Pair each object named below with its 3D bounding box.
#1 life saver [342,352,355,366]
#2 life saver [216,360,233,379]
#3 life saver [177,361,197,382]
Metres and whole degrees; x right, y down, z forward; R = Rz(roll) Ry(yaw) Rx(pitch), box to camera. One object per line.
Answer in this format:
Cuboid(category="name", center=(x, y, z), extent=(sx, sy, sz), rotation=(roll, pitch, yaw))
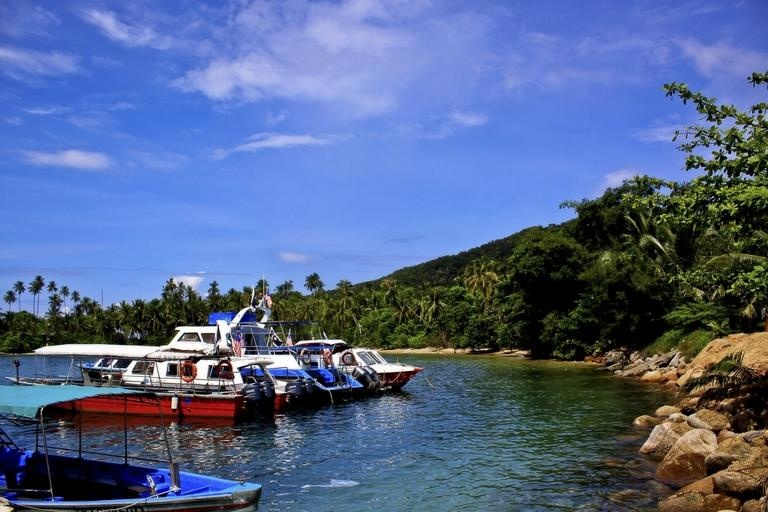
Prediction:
Cuboid(category="life saver", center=(-2.771, 7.999, 41.373), extent=(1.113, 0.969, 0.292), rotation=(7, -13, -36))
Cuboid(category="life saver", center=(-10.252, 7.177, 33.688), extent=(0.990, 1.165, 0.555), rotation=(2, -9, -20))
Cuboid(category="life saver", center=(-12.422, 7.273, 33.407), extent=(1.344, 1.340, 0.616), rotation=(-7, -10, 38))
